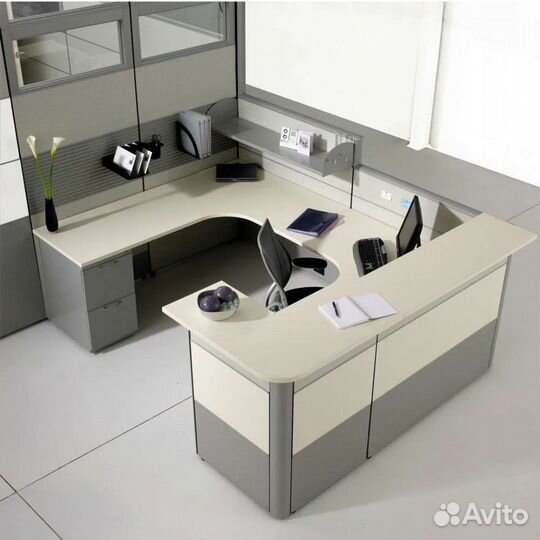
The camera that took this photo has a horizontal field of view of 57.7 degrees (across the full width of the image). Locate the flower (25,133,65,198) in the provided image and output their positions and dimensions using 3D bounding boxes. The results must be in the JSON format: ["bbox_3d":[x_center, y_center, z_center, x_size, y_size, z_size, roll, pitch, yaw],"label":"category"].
[{"bbox_3d":[-1.474,-0.694,3.189,0.181,0.347,0.212,-24,45,-33],"label":"flower"}]

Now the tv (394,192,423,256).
[{"bbox_3d":[0.851,-0.280,2.986,0.110,0.295,0.400,19,6,-1],"label":"tv"}]

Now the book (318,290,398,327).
[{"bbox_3d":[0.389,0.165,2.192,0.317,0.040,0.217,-9,32,-21],"label":"book"}]

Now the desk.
[{"bbox_3d":[-0.461,0.129,3.878,1.841,0.888,2.048,30,46,33],"label":"desk"}]

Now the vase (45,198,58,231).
[{"bbox_3d":[-1.488,-0.400,3.314,0.077,0.240,0.167,-10,31,-23],"label":"vase"}]

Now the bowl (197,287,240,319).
[{"bbox_3d":[-0.233,0.121,2.200,0.188,0.096,0.225,0,30,-6],"label":"bowl"}]

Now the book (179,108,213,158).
[{"bbox_3d":[-0.584,-1.072,3.808,0.126,0.319,0.300,-21,36,-36],"label":"book"}]
